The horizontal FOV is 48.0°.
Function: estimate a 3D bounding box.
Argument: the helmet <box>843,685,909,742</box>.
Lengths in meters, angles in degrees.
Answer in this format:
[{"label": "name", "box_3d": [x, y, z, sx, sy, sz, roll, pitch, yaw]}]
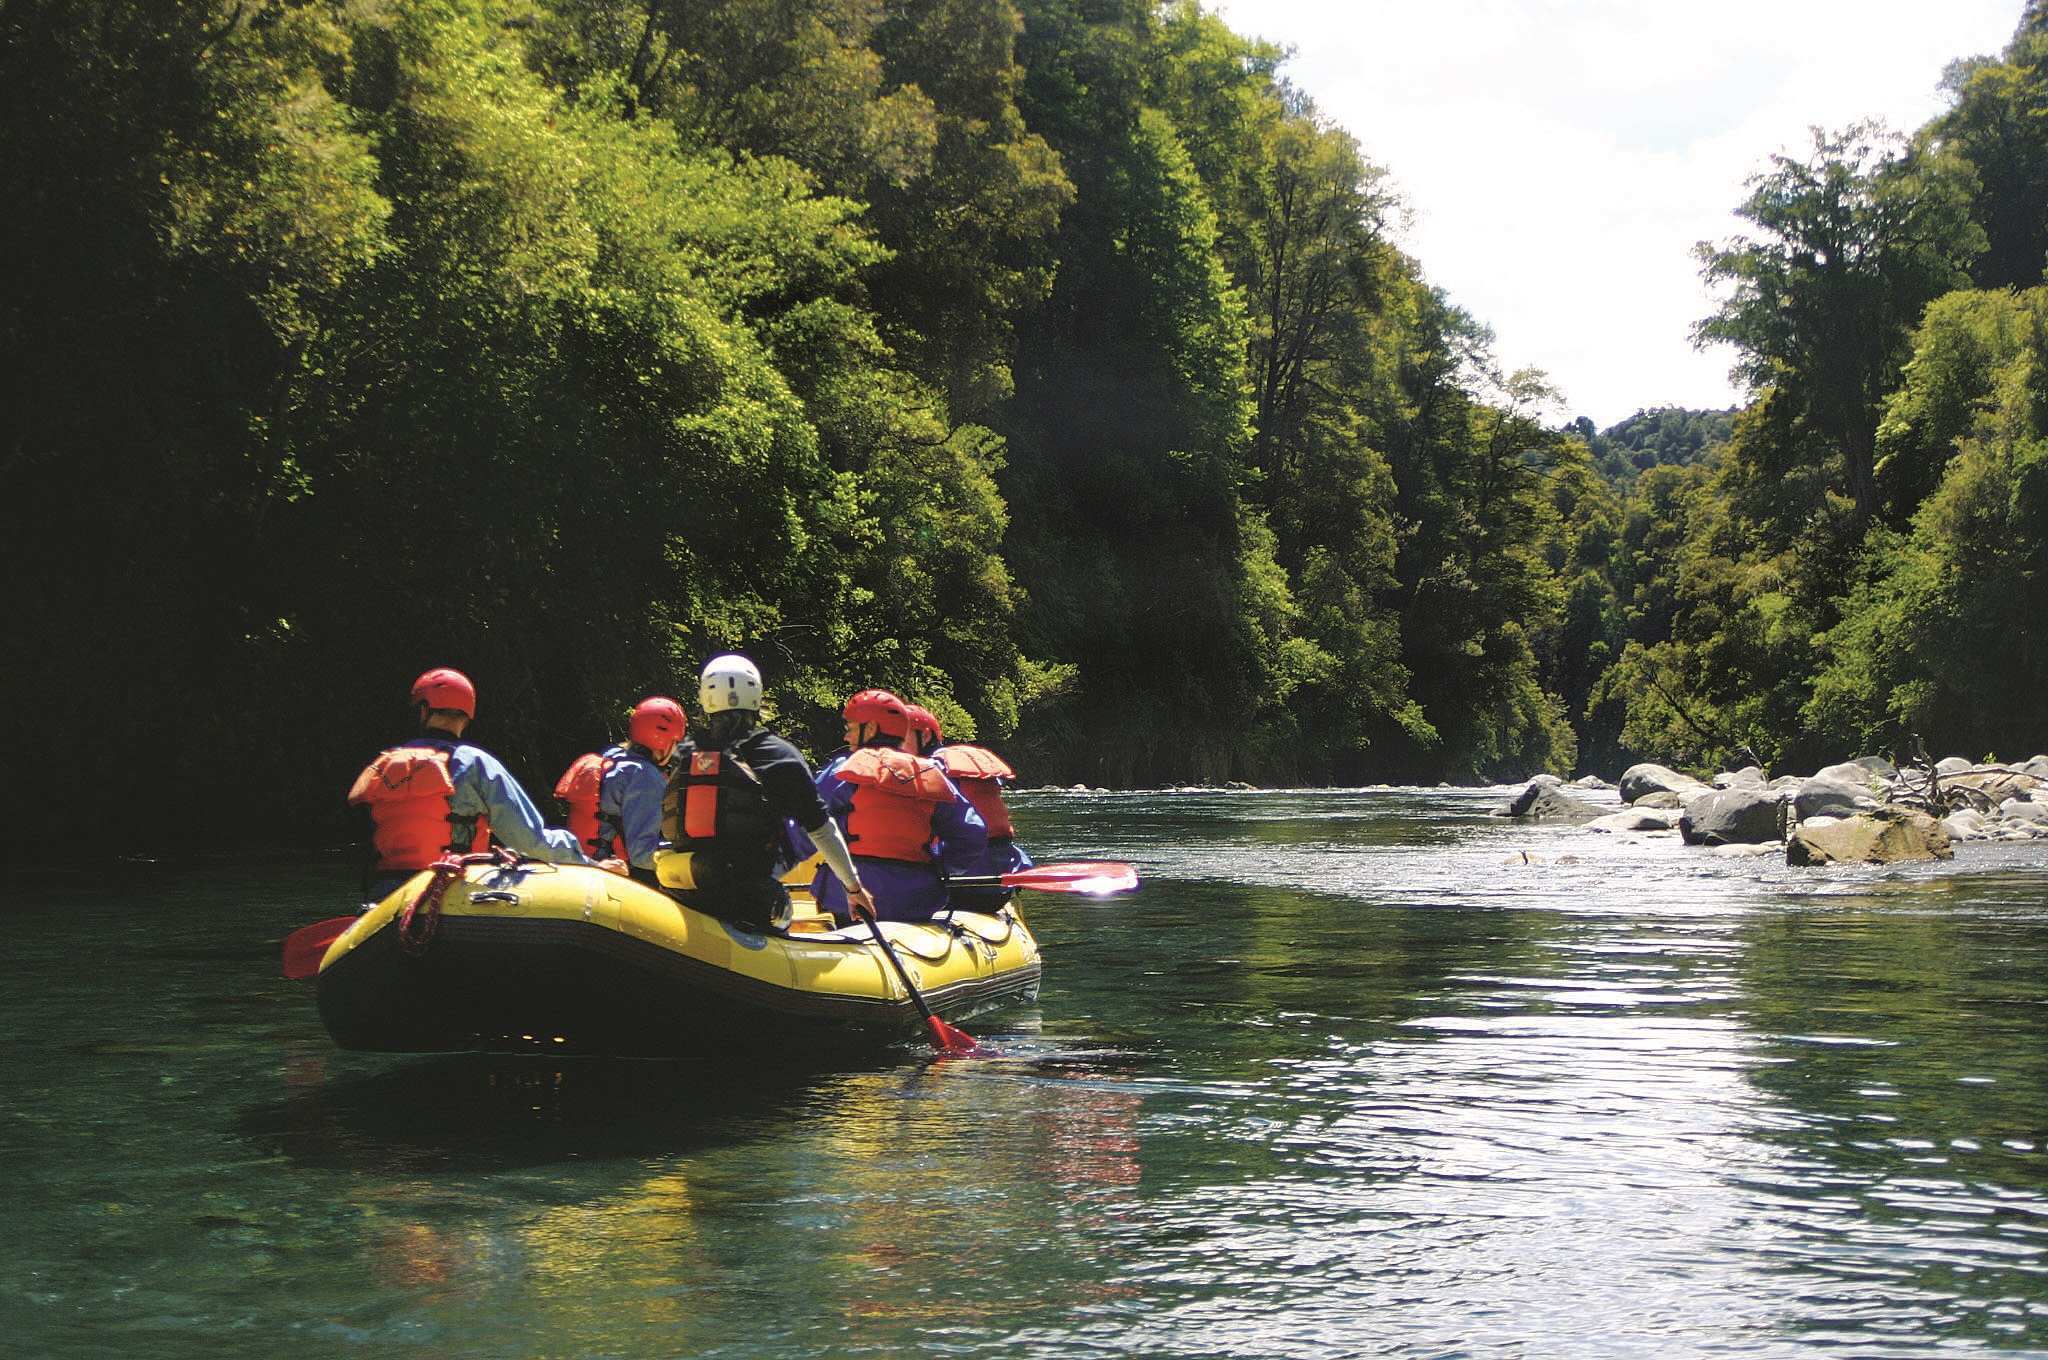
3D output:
[{"label": "helmet", "box_3d": [-1.269, 0.279, 18.822, 0.473, 0.442, 0.355, -8, 26, -36]}]

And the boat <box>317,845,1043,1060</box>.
[{"label": "boat", "box_3d": [-2.322, 2.227, 16.845, 3.716, 0.737, 1.961, 17, -16, -41]}]

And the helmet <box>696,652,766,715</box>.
[{"label": "helmet", "box_3d": [-2.168, 0.031, 16.988, 0.365, 0.438, 0.485, -1, 9, -5]}]
